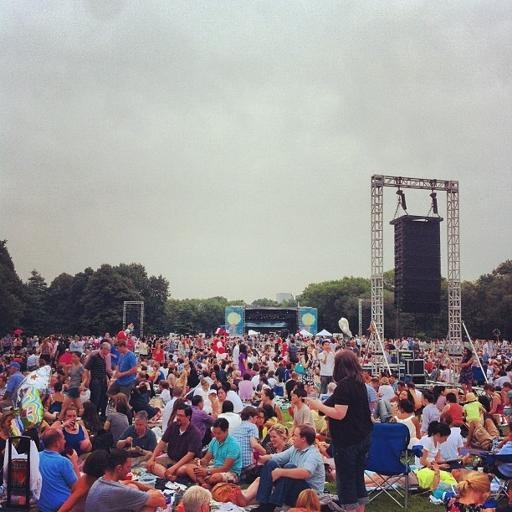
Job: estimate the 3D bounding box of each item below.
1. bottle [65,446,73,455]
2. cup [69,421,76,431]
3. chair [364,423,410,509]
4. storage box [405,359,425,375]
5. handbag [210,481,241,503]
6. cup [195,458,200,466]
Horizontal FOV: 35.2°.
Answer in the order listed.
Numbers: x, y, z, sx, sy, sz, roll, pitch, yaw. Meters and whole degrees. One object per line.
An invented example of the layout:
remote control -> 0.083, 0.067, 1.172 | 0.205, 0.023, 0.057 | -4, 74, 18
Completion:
bottle -> -2.979, 3.070, 12.838 | 0.042, 0.152, 0.156 | 3, 0, -38
cup -> -3.039, 2.783, 13.330 | 0.112, 0.158, 0.145 | 0, -2, -7
chair -> 2.147, 3.368, 13.167 | 0.700, 1.317, 0.988 | 0, -13, 10
storage box -> 5.098, 3.520, 25.936 | 0.622, 0.617, 0.460 | -1, -7, -3
handbag -> -0.496, 3.718, 12.752 | 0.578, 0.291, 0.276 | -11, -18, 44
cup -> -1.006, 3.488, 13.788 | 0.076, 0.069, 0.076 | 0, -7, 0
